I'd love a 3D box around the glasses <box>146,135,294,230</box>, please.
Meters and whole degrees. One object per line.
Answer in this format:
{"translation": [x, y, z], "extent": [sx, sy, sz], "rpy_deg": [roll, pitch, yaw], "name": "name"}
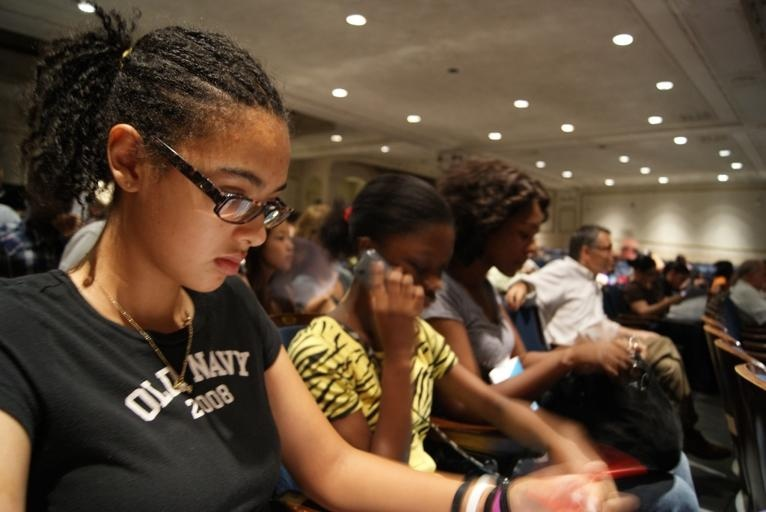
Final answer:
{"translation": [-0.300, -0.117, 0.890], "extent": [0.178, 0.055, 0.172], "rpy_deg": [46, 3, 14], "name": "glasses"}
